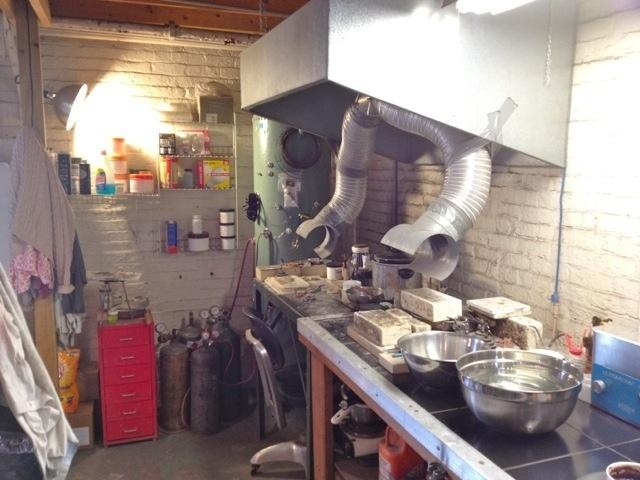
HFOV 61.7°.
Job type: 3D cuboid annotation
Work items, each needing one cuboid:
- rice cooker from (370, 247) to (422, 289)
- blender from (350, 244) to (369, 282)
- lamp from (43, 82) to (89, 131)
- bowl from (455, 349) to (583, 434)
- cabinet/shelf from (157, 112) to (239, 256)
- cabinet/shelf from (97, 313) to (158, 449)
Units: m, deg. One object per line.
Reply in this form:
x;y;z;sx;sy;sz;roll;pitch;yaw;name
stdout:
0.477;0.172;3.476;0.253;0.275;0.257;0;2;8;rice cooker
0.284;0.184;3.925;0.131;0.295;0.176;-7;10;-26;blender
-2.063;-1.079;4.404;0.332;0.385;0.607;-7;16;-25;lamp
0.801;0.617;2.181;0.470;0.230;0.416;-8;16;-28;bowl
-1.081;-0.477;4.862;0.622;1.152;0.157;1;-7;-1;cabinet/shelf
-1.516;1.099;4.302;0.428;0.917;0.510;-1;5;-19;cabinet/shelf
